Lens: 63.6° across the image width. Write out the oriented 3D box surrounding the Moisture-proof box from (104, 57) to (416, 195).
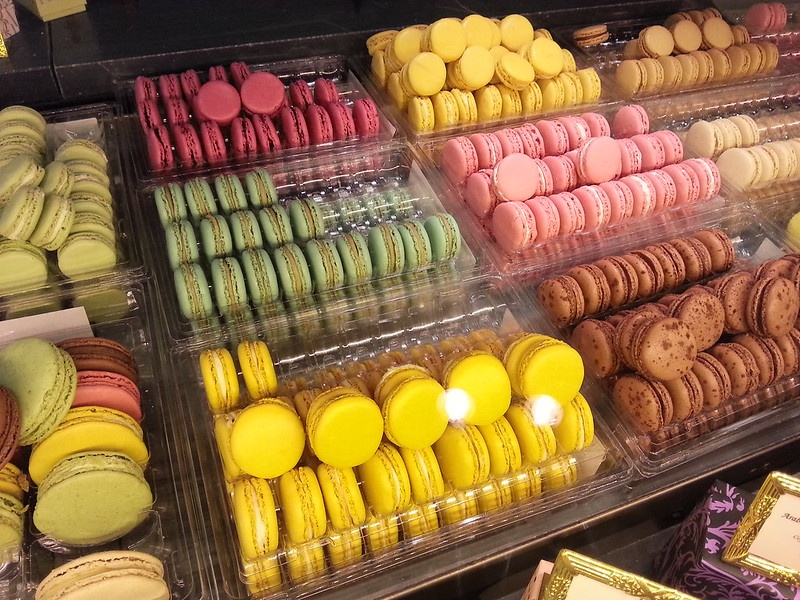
[{"bbox_3d":[-0.542,-0.705,2.686,1.010,0.665,0.276,-8,-35,-11],"label":"Moisture-proof box"}]
